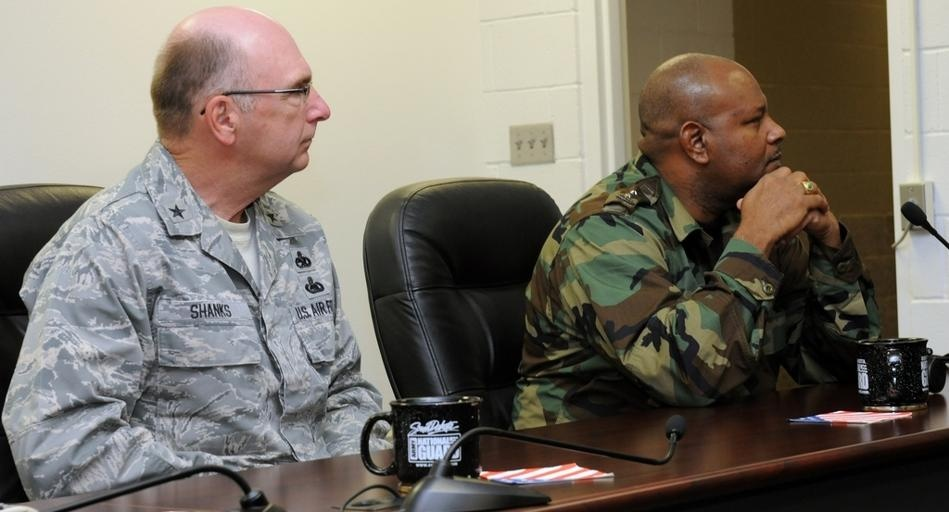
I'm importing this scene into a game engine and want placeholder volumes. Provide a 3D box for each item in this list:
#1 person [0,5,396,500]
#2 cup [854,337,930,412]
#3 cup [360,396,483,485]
[{"bbox_3d":[-0.797,-0.047,2.125,0.948,1.231,0.341,-6,-1,-38],"label":"person"},{"bbox_3d":[1.023,0.285,1.869,0.174,0.170,0.178,1,-6,0],"label":"cup"},{"bbox_3d":[-0.100,0.357,1.501,0.244,0.154,0.152,-4,-4,11],"label":"cup"}]
